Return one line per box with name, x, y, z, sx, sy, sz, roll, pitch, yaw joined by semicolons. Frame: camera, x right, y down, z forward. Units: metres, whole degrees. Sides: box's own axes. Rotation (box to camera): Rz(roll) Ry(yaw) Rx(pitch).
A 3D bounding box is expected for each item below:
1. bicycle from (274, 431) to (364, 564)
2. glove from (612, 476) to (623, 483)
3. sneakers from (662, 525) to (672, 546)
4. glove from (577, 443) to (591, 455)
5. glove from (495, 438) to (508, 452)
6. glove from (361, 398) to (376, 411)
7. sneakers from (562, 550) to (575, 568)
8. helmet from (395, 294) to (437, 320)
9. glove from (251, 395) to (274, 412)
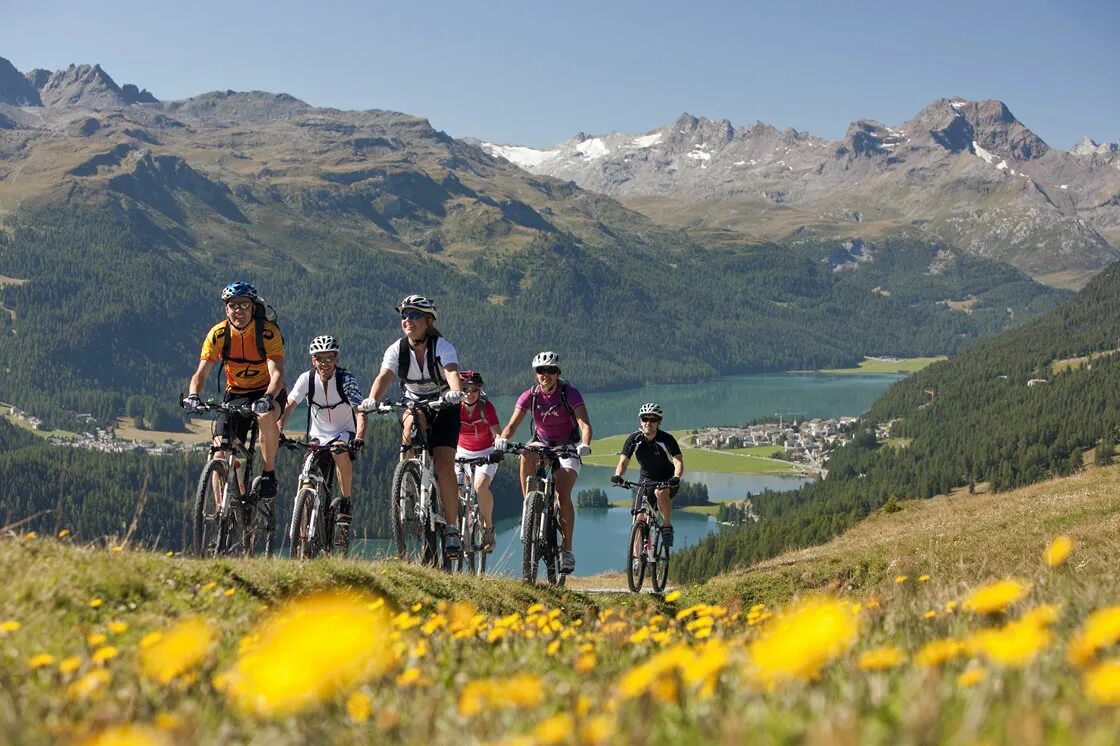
bicycle;-4.015;2.079;20.177;1.113;1.910;0.685;5;-12;-37
glove;1.106;2.110;23.832;0.162;0.074;0.214;1;1;4
sneakers;2.172;3.268;24.281;0.156;0.374;0.282;2;-3;-4
glove;0.407;1.394;21.656;0.181;0.237;0.089;0;3;10
glove;-1.038;1.277;21.422;0.229;0.106;0.305;7;-6;1
glove;-3.086;0.533;19.687;0.192;0.149;0.228;-2;-1;1
sneakers;0.127;3.503;22.694;0.235;0.294;0.313;0;-5;-3
helmet;-2.350;-1.103;20.202;0.571;0.271;0.373;11;-6;-26
glove;-4.594;0.517;18.931;0.344;0.260;0.464;0;-10;-13
